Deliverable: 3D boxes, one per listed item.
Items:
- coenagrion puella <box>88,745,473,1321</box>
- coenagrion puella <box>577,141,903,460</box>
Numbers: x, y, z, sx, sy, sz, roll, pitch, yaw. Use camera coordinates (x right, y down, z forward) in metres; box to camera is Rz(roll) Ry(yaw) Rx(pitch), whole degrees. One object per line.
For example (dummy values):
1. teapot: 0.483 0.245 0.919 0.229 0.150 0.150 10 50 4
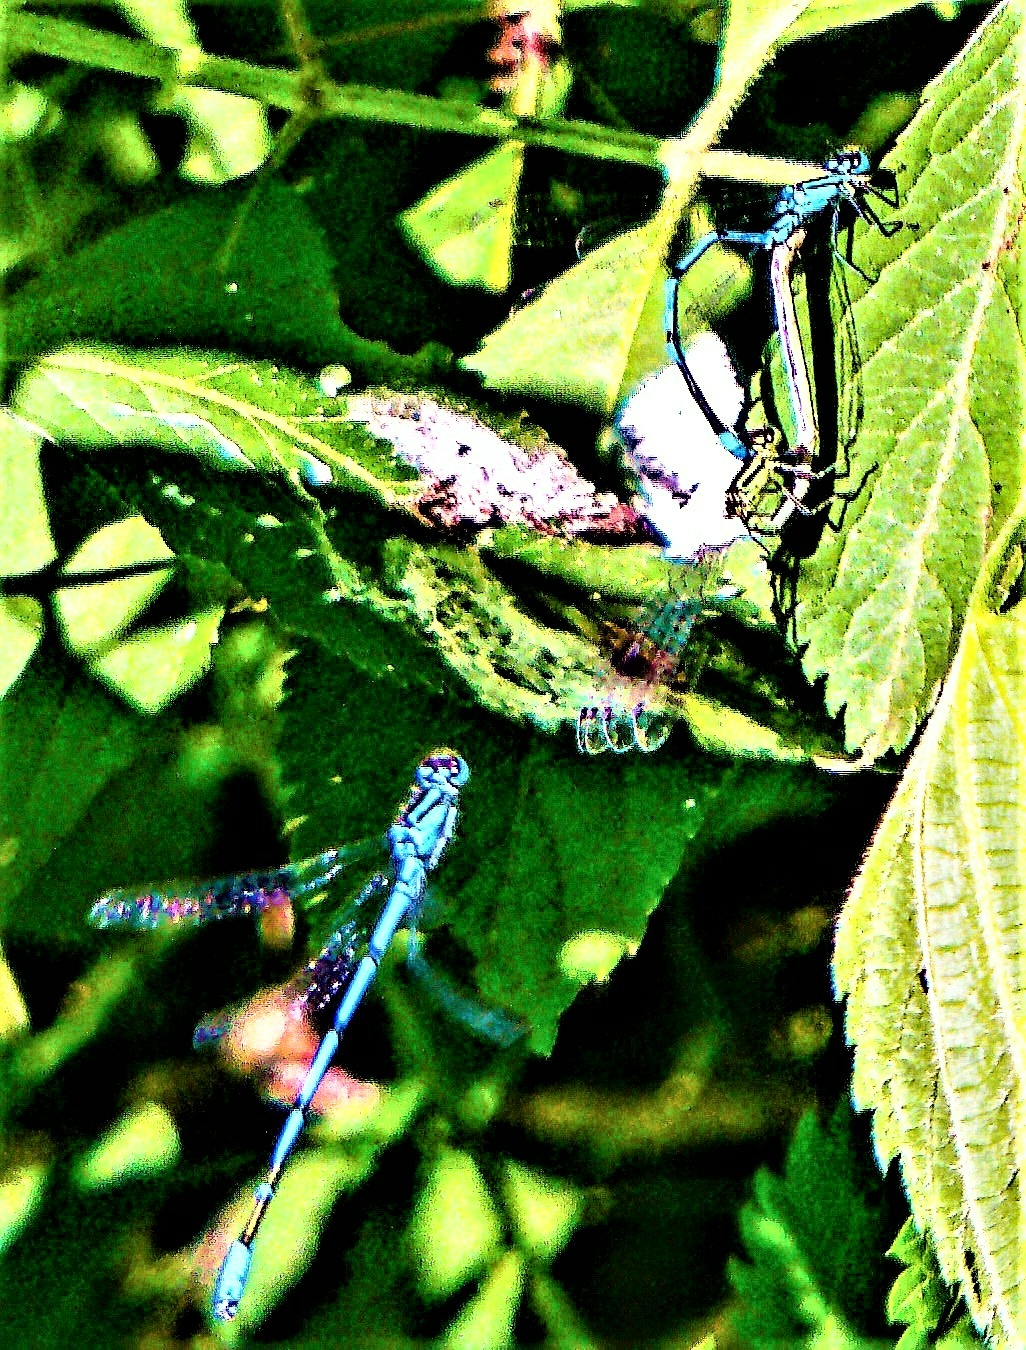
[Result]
1. coenagrion puella: -0.156 0.204 1.034 0.222 0.132 0.317 26 74 -15
2. coenagrion puella: 0.165 -0.233 1.039 0.117 0.244 0.066 -8 60 -16
